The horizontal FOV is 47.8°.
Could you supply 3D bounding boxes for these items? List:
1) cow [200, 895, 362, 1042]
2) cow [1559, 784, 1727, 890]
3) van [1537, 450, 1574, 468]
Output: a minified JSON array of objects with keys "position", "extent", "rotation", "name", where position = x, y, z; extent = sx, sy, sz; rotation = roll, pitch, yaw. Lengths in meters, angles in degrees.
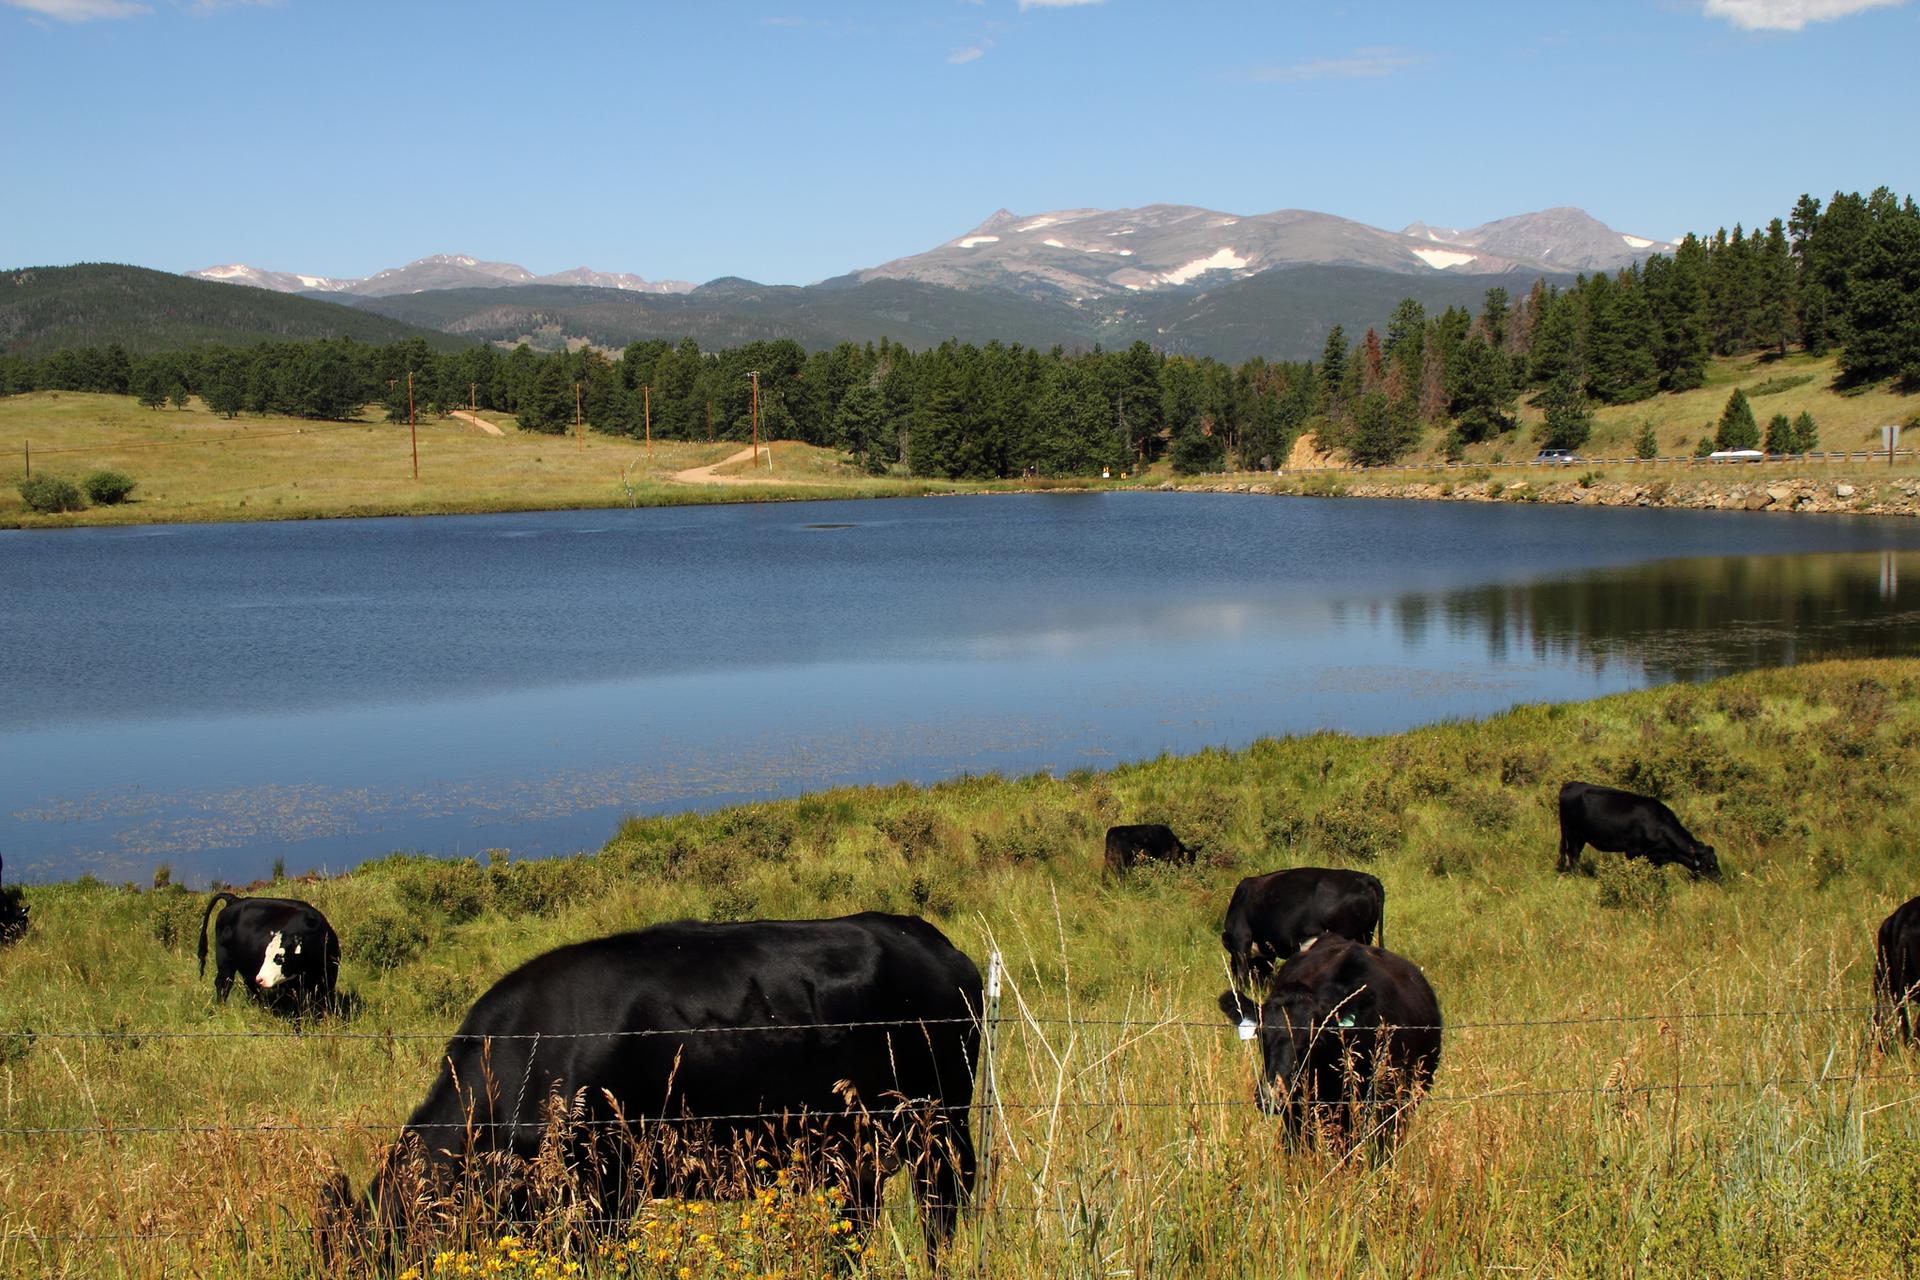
[{"position":[-16.359,7.844,53.146],"extent":[3.264,3.025,2.790],"rotation":[0,4,7],"name":"cow"},{"position":[17.009,4.842,55.178],"extent":[3.599,2.360,1.676],"rotation":[1,-9,-29],"name":"cow"},{"position":[48.386,-14.423,175.873],"extent":[2.327,1.362,1.666],"rotation":[-2,8,14],"name":"van"}]
